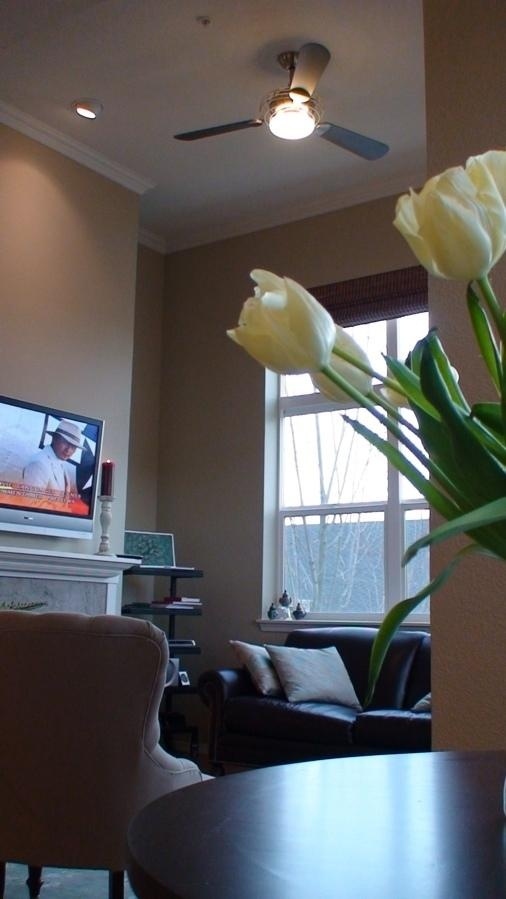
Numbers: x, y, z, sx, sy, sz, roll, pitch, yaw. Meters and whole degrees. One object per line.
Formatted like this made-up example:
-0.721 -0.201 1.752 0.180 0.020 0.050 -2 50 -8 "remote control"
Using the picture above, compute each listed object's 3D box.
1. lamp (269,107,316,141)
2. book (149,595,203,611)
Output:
0.200 -1.630 3.284 0.206 0.083 0.209 -1 -6 42 "lamp"
-0.555 1.102 4.699 0.325 0.074 0.102 6 -5 -25 "book"
